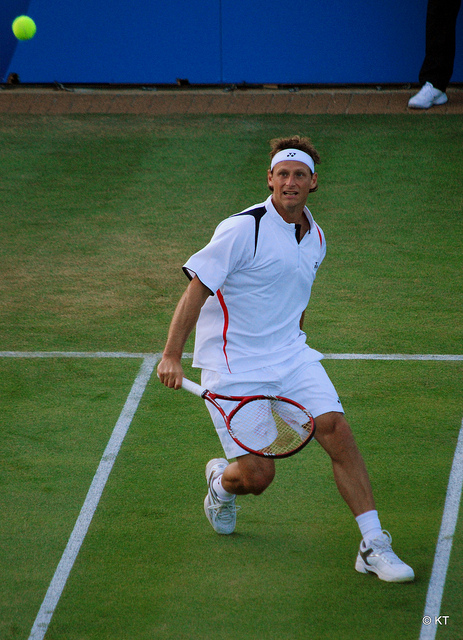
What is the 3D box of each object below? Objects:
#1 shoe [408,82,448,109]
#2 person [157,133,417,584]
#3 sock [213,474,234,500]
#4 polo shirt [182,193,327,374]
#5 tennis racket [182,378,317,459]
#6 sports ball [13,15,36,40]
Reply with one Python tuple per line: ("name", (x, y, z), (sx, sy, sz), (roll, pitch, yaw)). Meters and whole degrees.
("shoe", (2.646, -2.995, 10.227), (0.602, 0.259, 0.224), (-18, 60, -17))
("person", (0.140, 0.166, 3.445), (0.908, 1.809, 1.361), (-11, 22, 1))
("sock", (-0.046, 0.760, 3.470), (0.103, 0.104, 0.108), (-8, 1, -31))
("polo shirt", (0.144, -0.161, 3.652), (0.512, 0.769, 0.956), (11, 5, 38))
("tennis racket", (0.047, 0.436, 3.465), (0.735, 0.050, 0.298), (25, 32, 34))
("sports ball", (-2.888, -4.109, 10.733), (0.362, 0.304, 0.359), (-6, 29, 3))
